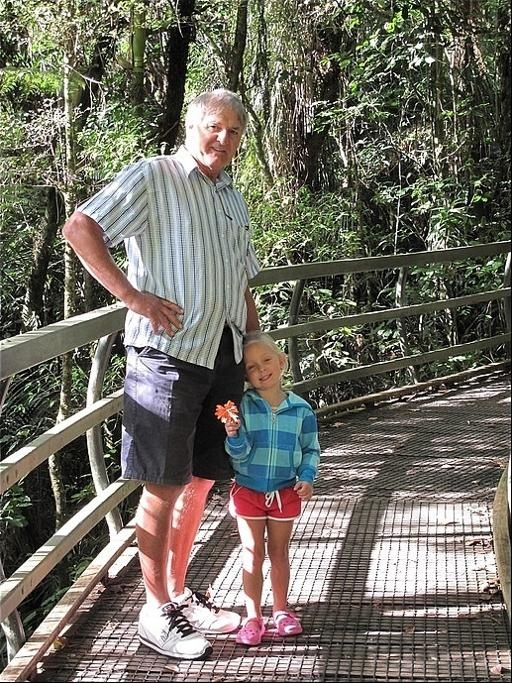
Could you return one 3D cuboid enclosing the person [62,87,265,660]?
[{"bbox_3d":[-0.174,0.072,1.306,0.293,1.336,0.539,0,3,28],"label":"person"}]

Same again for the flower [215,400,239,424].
[{"bbox_3d":[-0.064,0.155,1.278,0.061,0.054,0.019,-11,7,-2],"label":"flower"}]

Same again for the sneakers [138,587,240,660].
[{"bbox_3d":[-0.155,0.647,1.300,0.162,0.063,0.197,12,14,12],"label":"sneakers"}]
